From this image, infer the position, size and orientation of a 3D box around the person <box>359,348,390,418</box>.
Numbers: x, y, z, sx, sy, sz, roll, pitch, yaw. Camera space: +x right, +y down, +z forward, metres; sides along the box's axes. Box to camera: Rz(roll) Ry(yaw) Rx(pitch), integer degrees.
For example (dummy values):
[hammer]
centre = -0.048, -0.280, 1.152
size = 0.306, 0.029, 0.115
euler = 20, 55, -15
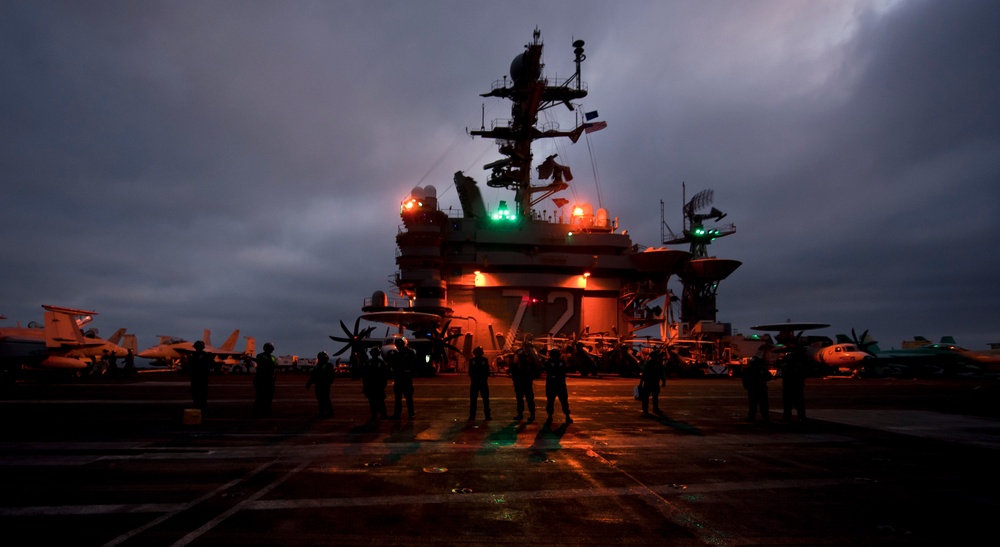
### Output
[person]
centre = -4.941, 4.346, 30.625
size = 0.952, 3.121, 1.149
euler = -2, 16, -10

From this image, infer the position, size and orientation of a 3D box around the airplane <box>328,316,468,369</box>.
[airplane]
centre = -6.863, 5.423, 60.199
size = 10.286, 3.638, 10.984
euler = -1, -6, 12
